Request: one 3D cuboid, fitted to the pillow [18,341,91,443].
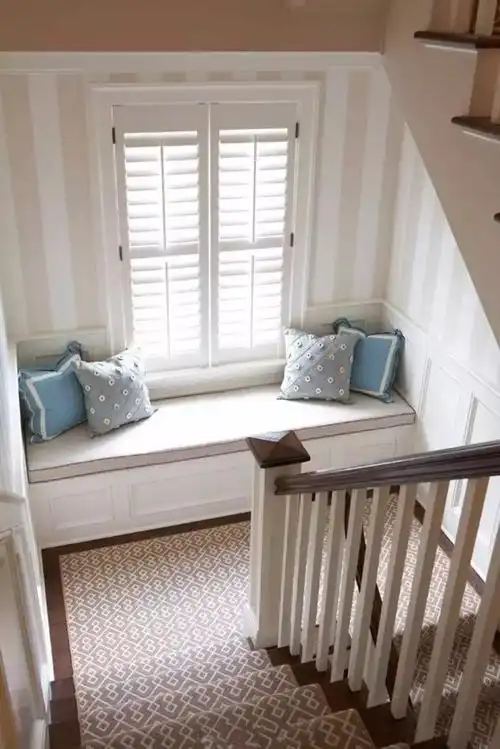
[{"bbox_3d":[-1.089,0.103,2.915,0.227,0.455,0.462,29,36,24],"label":"pillow"}]

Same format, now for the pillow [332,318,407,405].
[{"bbox_3d":[0.770,-0.081,3.182,0.393,0.438,0.124,17,9,22],"label":"pillow"}]

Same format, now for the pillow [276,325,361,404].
[{"bbox_3d":[0.442,-0.053,3.276,0.404,0.443,0.167,6,5,11],"label":"pillow"}]
